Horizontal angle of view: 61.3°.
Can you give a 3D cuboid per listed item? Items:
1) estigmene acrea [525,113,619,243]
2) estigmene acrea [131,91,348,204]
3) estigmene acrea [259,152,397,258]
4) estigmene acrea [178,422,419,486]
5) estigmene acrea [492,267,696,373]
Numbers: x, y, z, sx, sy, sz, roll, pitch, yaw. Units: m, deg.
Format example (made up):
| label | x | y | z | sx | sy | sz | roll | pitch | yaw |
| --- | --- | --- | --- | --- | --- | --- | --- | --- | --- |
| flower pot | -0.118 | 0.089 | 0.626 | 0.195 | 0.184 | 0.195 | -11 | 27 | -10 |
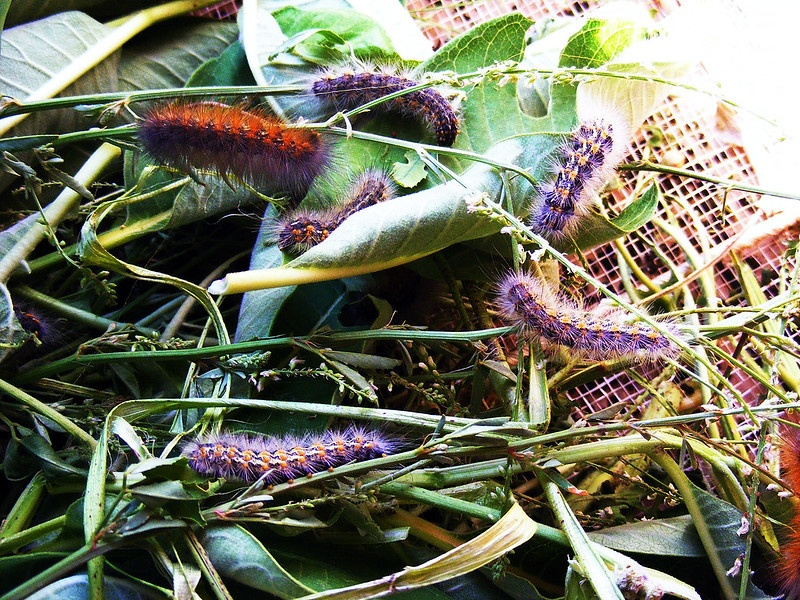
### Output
| label | x | y | z | sx | sy | sz | roll | pitch | yaw |
| --- | --- | --- | --- | --- | --- | --- | --- | --- | --- |
| estigmene acrea | 0.413 | -0.285 | 1.579 | 0.140 | 0.258 | 0.104 | 28 | -9 | 4 |
| estigmene acrea | -0.362 | -0.309 | 1.519 | 0.459 | 0.121 | 0.289 | -2 | -13 | -15 |
| estigmene acrea | -0.119 | -0.206 | 1.652 | 0.136 | 0.405 | 0.136 | 36 | -27 | 43 |
| estigmene acrea | -0.214 | 0.307 | 1.457 | 0.521 | 0.105 | 0.152 | -2 | -18 | -9 |
| estigmene acrea | 0.396 | 0.051 | 1.540 | 0.517 | 0.149 | 0.153 | 19 | -35 | 16 |
